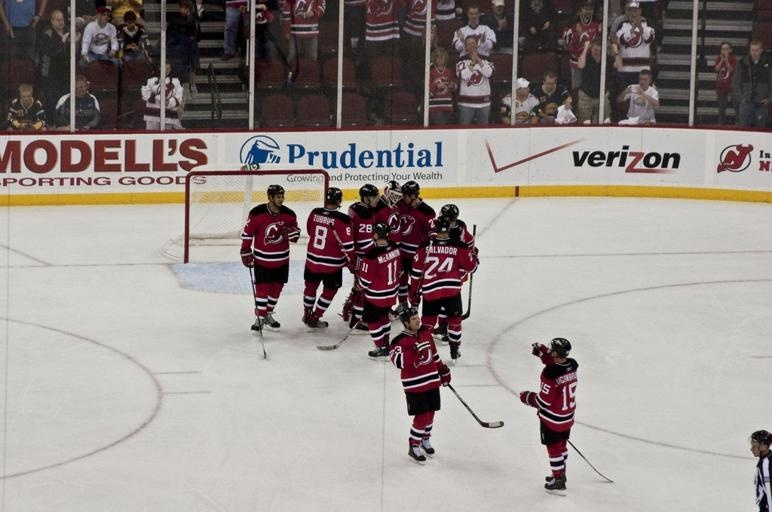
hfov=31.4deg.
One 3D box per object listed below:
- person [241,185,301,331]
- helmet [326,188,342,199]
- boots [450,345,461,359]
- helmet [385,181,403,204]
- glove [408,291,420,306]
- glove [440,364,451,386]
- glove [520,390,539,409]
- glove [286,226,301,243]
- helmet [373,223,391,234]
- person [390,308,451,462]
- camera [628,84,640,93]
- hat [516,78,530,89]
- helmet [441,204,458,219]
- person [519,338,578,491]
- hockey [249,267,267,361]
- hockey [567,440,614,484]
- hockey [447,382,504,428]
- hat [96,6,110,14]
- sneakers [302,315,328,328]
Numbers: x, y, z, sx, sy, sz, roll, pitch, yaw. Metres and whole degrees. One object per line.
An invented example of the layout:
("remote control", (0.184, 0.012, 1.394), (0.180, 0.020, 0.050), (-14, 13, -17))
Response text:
("person", (-1.434, 0.026, 16.782), (0.640, 1.805, 0.545), (5, 10, 15))
("helmet", (-0.647, -0.770, 16.758), (0.179, 0.148, 0.243), (2, 9, -4))
("boots", (0.792, 1.143, 16.233), (0.148, 0.178, 0.112), (11, 16, 40))
("helmet", (0.040, -0.776, 16.754), (0.227, 0.253, 0.266), (2, 11, -30))
("glove", (0.322, 0.508, 16.173), (0.129, 0.159, 0.157), (5, -7, -4))
("glove", (0.637, 1.280, 14.670), (0.080, 0.196, 0.147), (0, 8, -27))
("glove", (1.474, 1.519, 14.363), (0.147, 0.077, 0.185), (5, 21, -24))
("glove", (-1.146, -0.268, 16.764), (0.158, 0.193, 0.099), (6, -3, -9))
("helmet", (-0.068, -0.321, 16.012), (0.162, 0.119, 0.116), (-10, 28, 10))
("person", (0.334, 1.402, 14.627), (0.637, 1.613, 0.359), (3, 10, 1))
("camera", (4.074, -2.818, 22.752), (0.158, 0.132, 0.044), (0, -6, -5))
("hat", (2.225, -2.890, 22.610), (0.191, 0.093, 0.147), (-1, 8, 44))
("helmet", (0.713, -0.505, 16.038), (0.163, 0.158, 0.203), (-8, 29, -22))
("person", (1.675, 1.662, 14.327), (0.502, 1.606, 0.331), (4, 10, 7))
("hockey", (-1.568, 0.740, 16.777), (0.041, 1.351, 0.093), (-9, -34, -12))
("hockey", (2.157, 2.247, 14.686), (0.755, 0.097, 0.084), (36, 36, 27))
("hockey", (0.992, 1.655, 15.031), (0.570, 0.492, 0.673), (3, 9, 4))
("hat", (-4.413, -3.893, 21.418), (0.148, 0.104, 0.108), (-18, 18, -9))
("sneakers", (-0.887, 0.830, 16.982), (0.326, 0.114, 0.206), (-2, -27, -16))
